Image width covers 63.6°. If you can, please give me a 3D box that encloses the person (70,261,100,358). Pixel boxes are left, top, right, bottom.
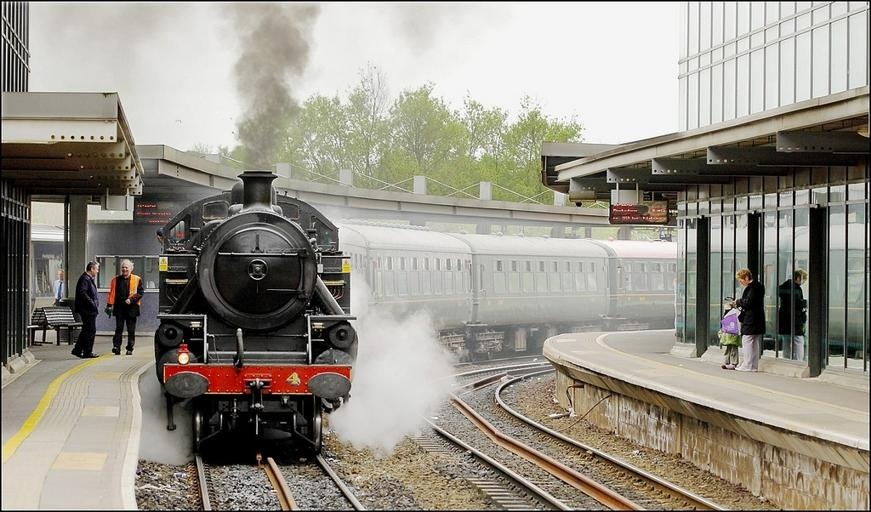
[{"bbox_3d":[-9.205,1.420,18.514,0.612,2.552,1.561,5,2,-27],"label":"person"}]

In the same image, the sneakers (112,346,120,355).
[{"bbox_3d":[-8.613,2.550,18.880,0.086,0.237,0.169,-1,15,11],"label":"sneakers"}]

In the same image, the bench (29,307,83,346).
[{"bbox_3d":[-11.428,2.103,21.109,0.498,0.560,1.377,17,2,26],"label":"bench"}]

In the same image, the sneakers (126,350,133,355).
[{"bbox_3d":[-8.326,2.607,18.969,0.186,0.165,0.110,0,6,-4],"label":"sneakers"}]
